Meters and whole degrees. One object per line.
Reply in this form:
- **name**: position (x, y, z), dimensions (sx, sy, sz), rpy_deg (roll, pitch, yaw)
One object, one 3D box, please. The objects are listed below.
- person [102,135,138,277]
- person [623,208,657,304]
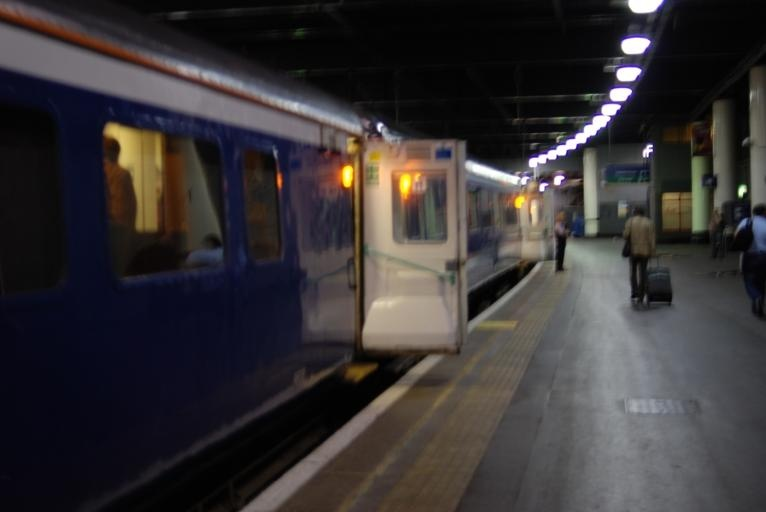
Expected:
- **person**: position (-1.913, -0.369, 4.357), dimensions (0.113, 0.997, 0.306), rpy_deg (-1, 6, 1)
- **person**: position (5.221, 0.027, 12.130), dimensions (0.582, 2.058, 1.380), rpy_deg (2, 6, 25)
